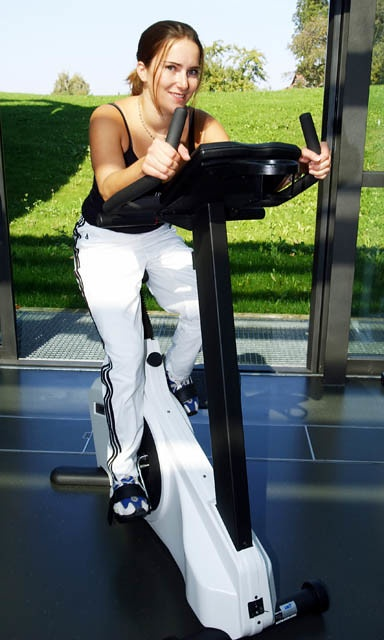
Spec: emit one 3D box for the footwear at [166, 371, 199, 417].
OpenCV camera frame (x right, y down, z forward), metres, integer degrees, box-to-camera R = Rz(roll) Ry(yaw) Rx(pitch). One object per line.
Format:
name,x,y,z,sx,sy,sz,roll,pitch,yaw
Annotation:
footwear,-0.028,0.263,1.737,0.079,0.071,0.173,-18,50,-11
